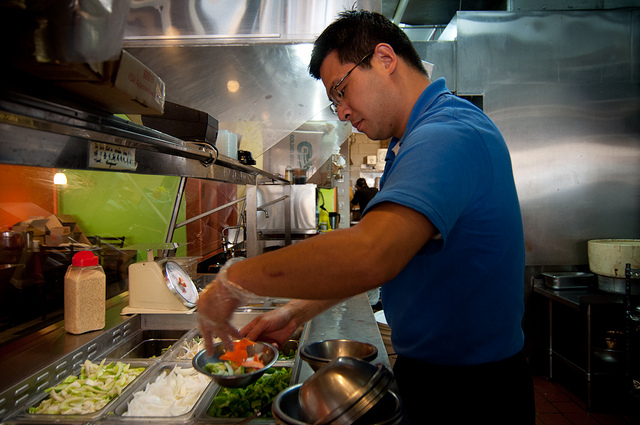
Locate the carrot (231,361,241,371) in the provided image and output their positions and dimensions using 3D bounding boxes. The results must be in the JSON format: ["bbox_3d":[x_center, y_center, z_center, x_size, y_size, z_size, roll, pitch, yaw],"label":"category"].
[{"bbox_3d":[-0.379,0.685,2.016,0.032,0.028,0.024,-6,-14,6],"label":"carrot"}]

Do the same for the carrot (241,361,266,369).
[{"bbox_3d":[-0.305,0.677,2.025,0.106,0.025,0.056,2,-1,1],"label":"carrot"}]

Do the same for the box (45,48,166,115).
[{"bbox_3d":[-0.736,-0.428,1.653,0.333,0.216,0.361,2,7,-12],"label":"box"}]

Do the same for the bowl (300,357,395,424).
[{"bbox_3d":[0.104,0.683,1.769,0.259,0.080,0.254,-23,3,1],"label":"bowl"}]

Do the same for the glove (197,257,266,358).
[{"bbox_3d":[-0.382,0.401,1.831,0.230,0.357,0.311,3,-1,-15],"label":"glove"}]

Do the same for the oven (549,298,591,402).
[{"bbox_3d":[2.286,1.220,4.126,0.487,0.895,0.700,0,-2,24],"label":"oven"}]

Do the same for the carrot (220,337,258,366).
[{"bbox_3d":[-0.373,0.630,2.070,0.118,0.045,0.100,-28,16,-13],"label":"carrot"}]

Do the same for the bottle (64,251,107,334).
[{"bbox_3d":[-1.255,0.424,2.411,0.193,0.452,0.155,3,-1,-22],"label":"bottle"}]
